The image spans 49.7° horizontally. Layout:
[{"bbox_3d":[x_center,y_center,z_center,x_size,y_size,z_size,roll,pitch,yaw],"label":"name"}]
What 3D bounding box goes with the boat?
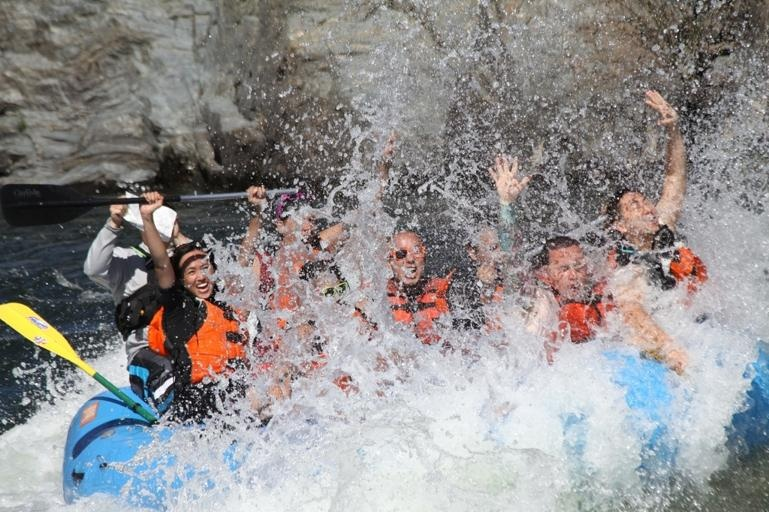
[{"bbox_3d":[0.128,1.738,8.243,4.954,0.758,2.739,-4,23,-6],"label":"boat"}]
